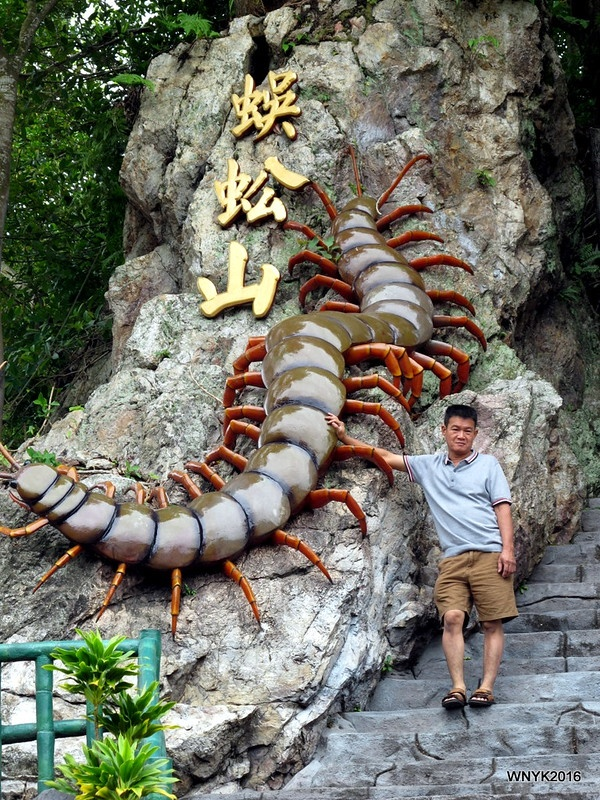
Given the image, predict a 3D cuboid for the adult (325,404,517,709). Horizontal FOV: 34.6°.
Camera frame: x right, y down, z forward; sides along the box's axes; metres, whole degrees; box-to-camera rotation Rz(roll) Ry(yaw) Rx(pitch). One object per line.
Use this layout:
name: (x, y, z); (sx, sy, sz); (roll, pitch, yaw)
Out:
adult: (0.810, 0.778, 5.011); (0.652, 1.334, 1.305); (-7, 18, 4)

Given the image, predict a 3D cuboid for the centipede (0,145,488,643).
centipede: (0.077, 0.042, 6.352); (1.804, 0.826, 3.623); (17, 37, 23)

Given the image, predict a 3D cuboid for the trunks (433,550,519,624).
trunks: (0.871, 0.930, 4.872); (0.392, 0.307, 0.311); (-6, 18, 5)
